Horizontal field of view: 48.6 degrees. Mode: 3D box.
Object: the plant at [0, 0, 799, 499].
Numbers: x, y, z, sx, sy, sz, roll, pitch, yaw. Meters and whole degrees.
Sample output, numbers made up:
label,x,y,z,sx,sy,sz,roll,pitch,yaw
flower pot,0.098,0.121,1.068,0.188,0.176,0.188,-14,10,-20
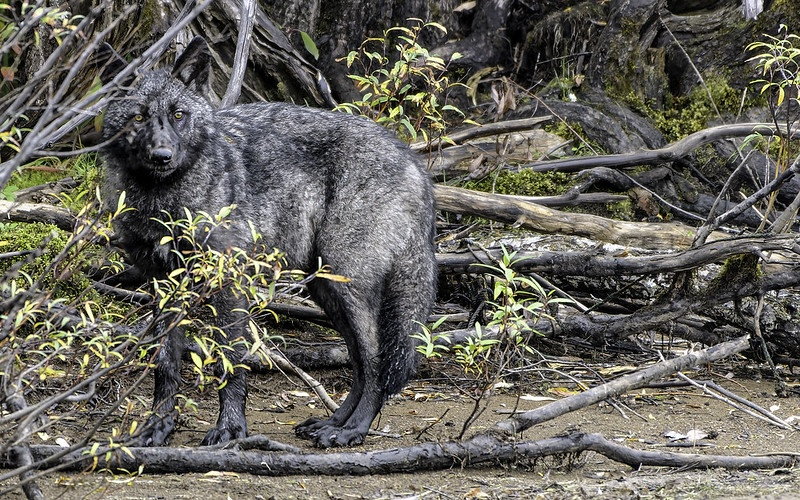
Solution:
label,x,y,z,sx,sy,sz,roll,pitch,yaw
plant,0.129,0.350,7.545,5.577,3.860,1.493,-4,50,2
